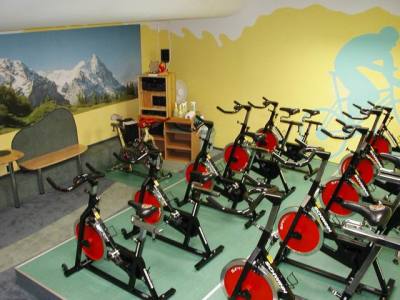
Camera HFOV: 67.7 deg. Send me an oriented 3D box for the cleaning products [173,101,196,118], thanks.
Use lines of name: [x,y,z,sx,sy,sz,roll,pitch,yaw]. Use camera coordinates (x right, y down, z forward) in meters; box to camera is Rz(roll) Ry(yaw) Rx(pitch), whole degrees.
cleaning products: [-0.339,-1.037,6.672,0.473,0.490,0.401,5,19,9]

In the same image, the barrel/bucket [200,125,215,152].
barrel/bucket: [0.207,-0.277,6.668,0.405,0.573,0.539,8,-5,9]

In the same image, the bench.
bench: [-2.795,0.040,5.418,0.480,1.144,1.168,23,32,21]
